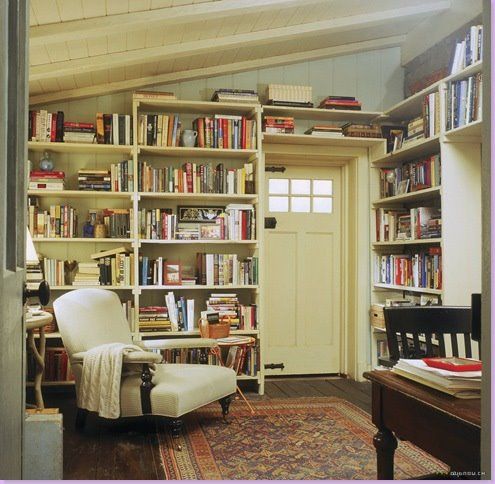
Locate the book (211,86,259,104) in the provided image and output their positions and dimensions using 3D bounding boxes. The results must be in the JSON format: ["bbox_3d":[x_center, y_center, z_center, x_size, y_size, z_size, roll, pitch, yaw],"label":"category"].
[{"bbox_3d":[-0.117,-1.225,4.276,0.253,0.056,0.246,-2,5,-16],"label":"book"}]

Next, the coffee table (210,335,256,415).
[{"bbox_3d":[-0.093,0.951,3.851,0.488,0.548,0.474,1,-5,-10],"label":"coffee table"}]

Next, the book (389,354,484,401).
[{"bbox_3d":[0.566,0.383,1.494,0.179,0.040,0.173,2,-3,-23],"label":"book"}]

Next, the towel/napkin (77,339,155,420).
[{"bbox_3d":[-0.704,0.744,3.062,0.501,0.462,0.433,2,-2,31],"label":"towel/napkin"}]

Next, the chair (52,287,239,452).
[{"bbox_3d":[-0.748,0.706,3.295,1.116,0.856,0.839,-1,-1,21],"label":"chair"}]

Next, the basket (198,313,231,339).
[{"bbox_3d":[-0.241,0.644,3.849,0.137,0.176,0.258,-6,-11,40],"label":"basket"}]
